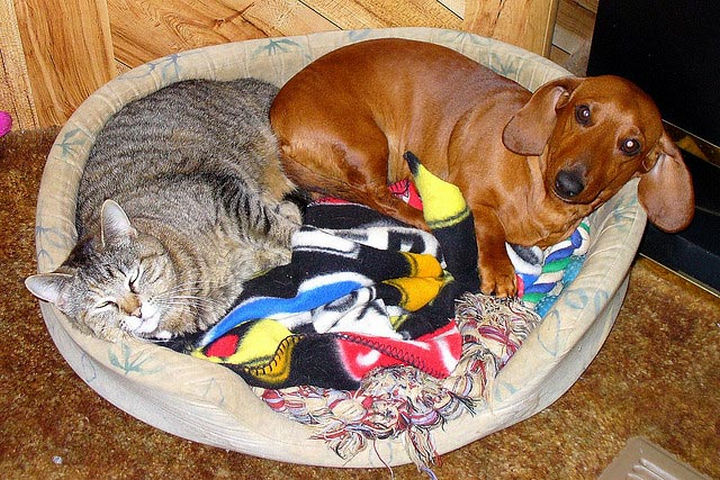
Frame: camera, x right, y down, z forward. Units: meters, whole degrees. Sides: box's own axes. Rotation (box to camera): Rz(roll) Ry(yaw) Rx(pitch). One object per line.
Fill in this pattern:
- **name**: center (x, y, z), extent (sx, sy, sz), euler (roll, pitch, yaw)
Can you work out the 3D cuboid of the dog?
- **dog**: center (0.459, -0.403, 2.765), extent (1.570, 0.756, 0.902), euler (27, 40, 14)
